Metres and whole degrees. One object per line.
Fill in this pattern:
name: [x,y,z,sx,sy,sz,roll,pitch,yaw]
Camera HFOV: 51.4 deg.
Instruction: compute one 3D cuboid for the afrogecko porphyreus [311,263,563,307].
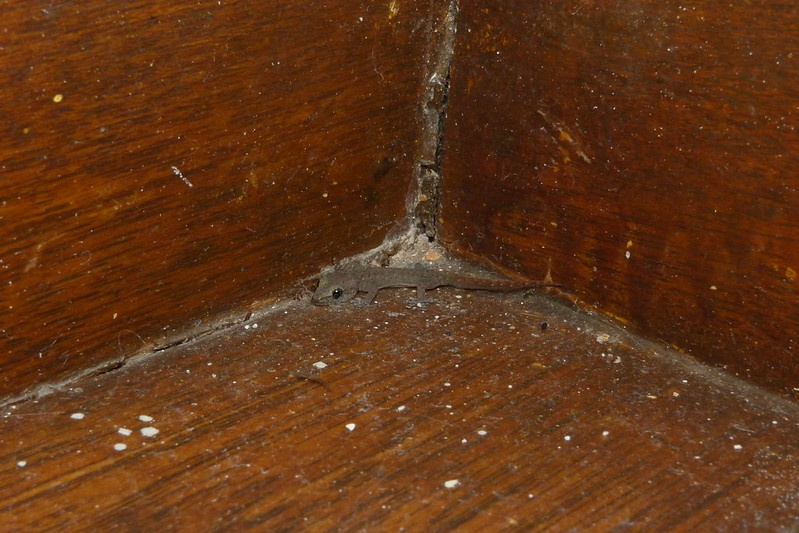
afrogecko porphyreus: [0.127,0.045,2.481,0.961,0.107,0.208,1,8,-8]
